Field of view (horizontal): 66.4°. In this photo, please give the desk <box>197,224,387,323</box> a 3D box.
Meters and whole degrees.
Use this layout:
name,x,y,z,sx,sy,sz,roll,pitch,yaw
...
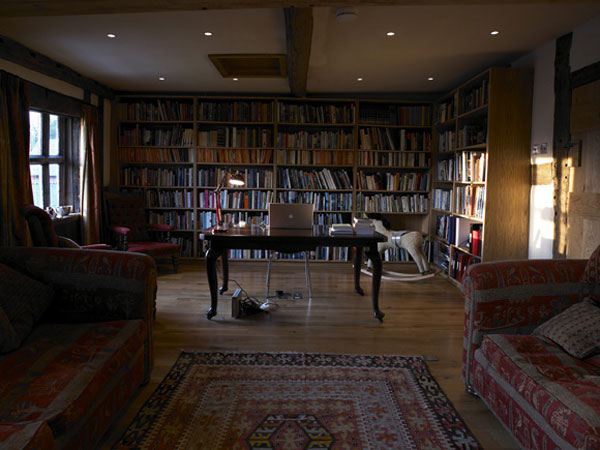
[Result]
name,x,y,z,sx,sy,sz,roll,pitch,yaw
desk,-0.064,0.434,4.760,1.810,0.860,0.800,1,12,0

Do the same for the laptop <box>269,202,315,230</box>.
name,x,y,z,sx,sy,sz,roll,pitch,yaw
laptop,-0.079,-0.090,4.731,0.377,0.256,0.272,1,1,0
